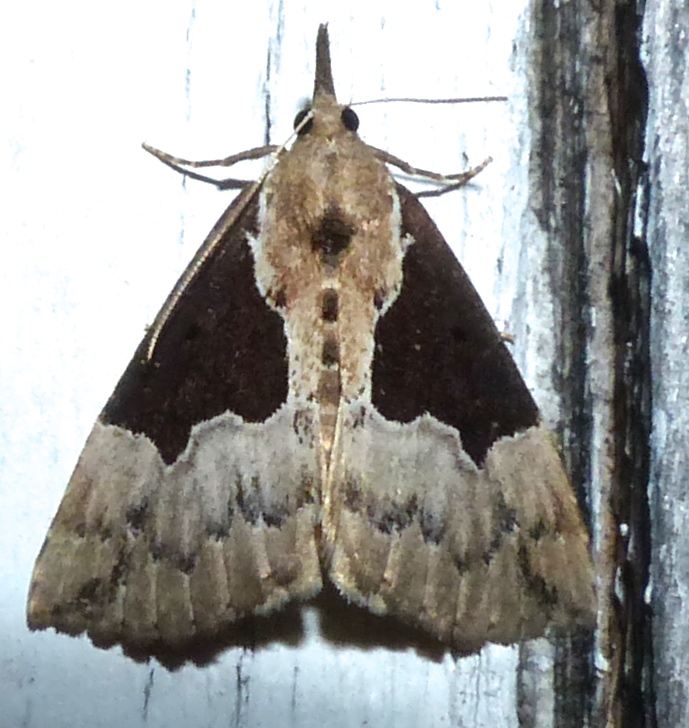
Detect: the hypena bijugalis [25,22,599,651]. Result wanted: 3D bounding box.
[{"bbox_3d":[-0.061,-0.090,4.736,1.378,1.668,0.168,1,-12,-1],"label":"hypena bijugalis"}]
